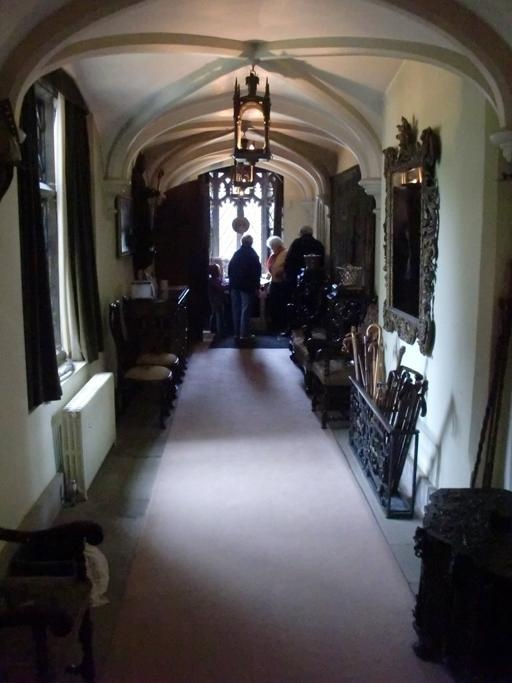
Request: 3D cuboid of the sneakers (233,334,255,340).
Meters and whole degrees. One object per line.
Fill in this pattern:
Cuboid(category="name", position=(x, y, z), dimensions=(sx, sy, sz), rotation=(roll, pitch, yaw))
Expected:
Cuboid(category="sneakers", position=(-0.230, -0.046, 9.591), dimensions=(0.146, 0.195, 0.402), rotation=(-1, -3, -43))

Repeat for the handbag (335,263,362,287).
Cuboid(category="handbag", position=(1.012, -0.728, 5.611), dimensions=(0.269, 0.245, 0.274), rotation=(3, 6, 32))
